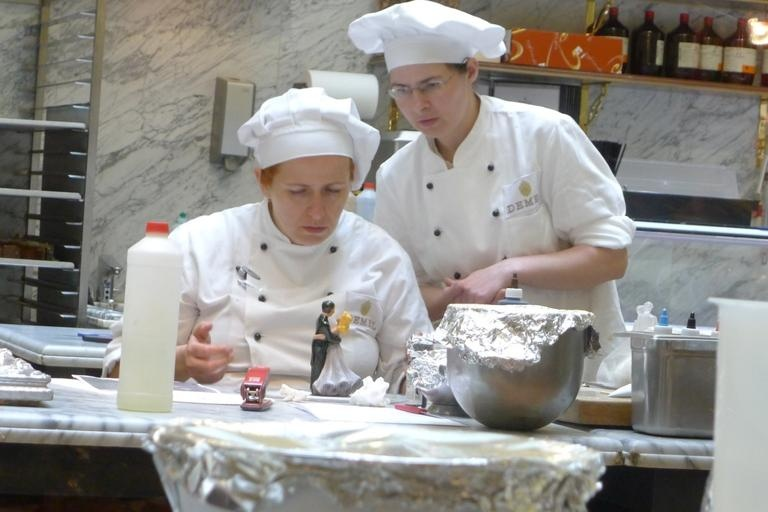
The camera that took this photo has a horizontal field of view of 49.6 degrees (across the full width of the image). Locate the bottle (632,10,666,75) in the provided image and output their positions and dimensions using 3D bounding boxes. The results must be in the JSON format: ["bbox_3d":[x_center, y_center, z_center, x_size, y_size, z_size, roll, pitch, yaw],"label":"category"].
[{"bbox_3d":[1.389,-1.096,4.315,0.184,0.292,0.161,3,1,8],"label":"bottle"}]

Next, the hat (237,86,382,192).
[{"bbox_3d":[-0.208,-0.276,2.311,0.282,0.206,0.272,14,-6,-36],"label":"hat"}]

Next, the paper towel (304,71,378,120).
[{"bbox_3d":[-0.180,-0.754,4.192,0.399,0.305,0.291,2,7,-18],"label":"paper towel"}]

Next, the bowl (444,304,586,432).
[{"bbox_3d":[0.260,0.212,1.631,0.249,0.187,0.259,2,-5,0],"label":"bowl"}]

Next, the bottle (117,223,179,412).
[{"bbox_3d":[-0.468,0.123,1.668,0.109,0.376,0.048,2,1,-15],"label":"bottle"}]

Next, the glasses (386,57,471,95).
[{"bbox_3d":[0.144,-0.555,2.483,0.197,0.056,0.213,11,14,-25],"label":"glasses"}]

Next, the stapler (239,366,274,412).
[{"bbox_3d":[-0.270,0.284,1.793,0.064,0.083,0.120,3,1,-8],"label":"stapler"}]

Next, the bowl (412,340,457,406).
[{"bbox_3d":[0.112,0.255,1.858,0.116,0.116,0.144,0,-9,1],"label":"bowl"}]
